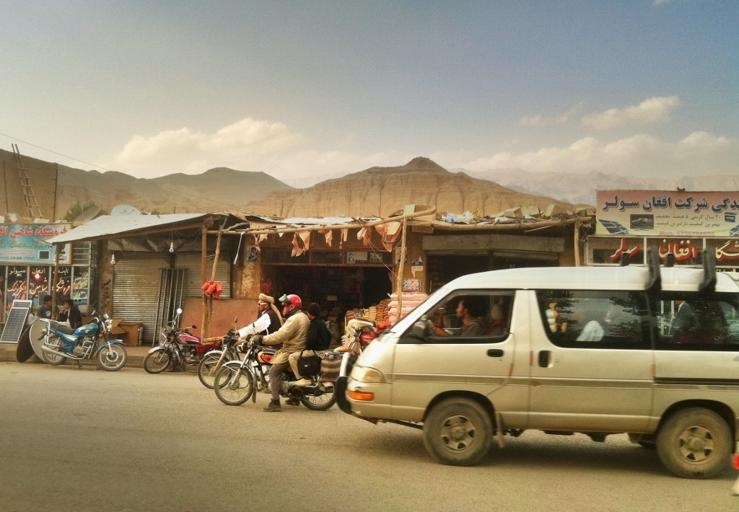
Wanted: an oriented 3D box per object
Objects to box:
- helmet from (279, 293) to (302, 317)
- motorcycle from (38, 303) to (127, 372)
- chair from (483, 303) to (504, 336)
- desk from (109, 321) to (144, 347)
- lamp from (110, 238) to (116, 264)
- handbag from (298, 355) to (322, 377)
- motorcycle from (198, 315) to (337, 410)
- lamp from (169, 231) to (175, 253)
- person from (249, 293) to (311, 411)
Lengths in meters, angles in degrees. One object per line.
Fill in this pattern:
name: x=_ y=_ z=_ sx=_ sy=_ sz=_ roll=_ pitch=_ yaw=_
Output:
helmet: x=-1.503 y=0.890 z=11.229 sx=0.516 sy=0.447 sz=0.407 roll=0 pitch=-4 yaw=3
motorcycle: x=-7.282 y=2.155 z=15.661 sx=2.362 sy=1.422 sz=0.633 roll=2 pitch=1 yaw=20
chair: x=1.651 y=0.831 z=8.050 sx=0.288 sy=0.355 sz=0.387 roll=7 pitch=8 yaw=17
desk: x=-7.885 y=2.571 z=20.203 sx=0.915 sy=0.559 sz=0.898 roll=-1 pitch=-7 yaw=35
lamp: x=-8.614 y=-0.108 z=20.619 sx=0.288 sy=0.800 sz=0.329 roll=2 pitch=1 yaw=-14
handbag: x=-1.048 y=1.890 z=10.583 sx=0.427 sy=0.355 sz=0.180 roll=0 pitch=5 yaw=-9
motorcycle: x=-1.774 y=2.069 z=11.437 sx=2.544 sy=1.369 sz=1.396 roll=2 pitch=-6 yaw=14
lamp: x=-6.422 y=-0.384 z=19.988 sx=0.209 sy=0.720 sz=0.567 roll=1 pitch=1 yaw=-18
person: x=-1.524 y=1.705 z=10.859 sx=0.819 sy=1.976 sz=0.723 roll=1 pitch=1 yaw=-20
